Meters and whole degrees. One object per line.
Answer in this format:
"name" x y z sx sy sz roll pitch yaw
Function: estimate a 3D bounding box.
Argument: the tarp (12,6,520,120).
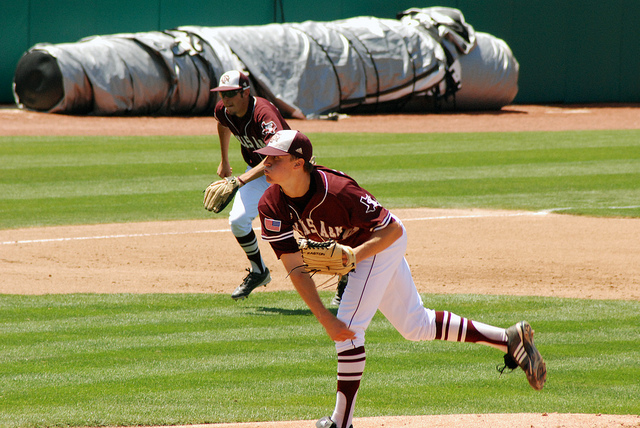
"tarp" -1.365 -5.014 51.337 16.770 4.171 6.626 -4 4 -33
